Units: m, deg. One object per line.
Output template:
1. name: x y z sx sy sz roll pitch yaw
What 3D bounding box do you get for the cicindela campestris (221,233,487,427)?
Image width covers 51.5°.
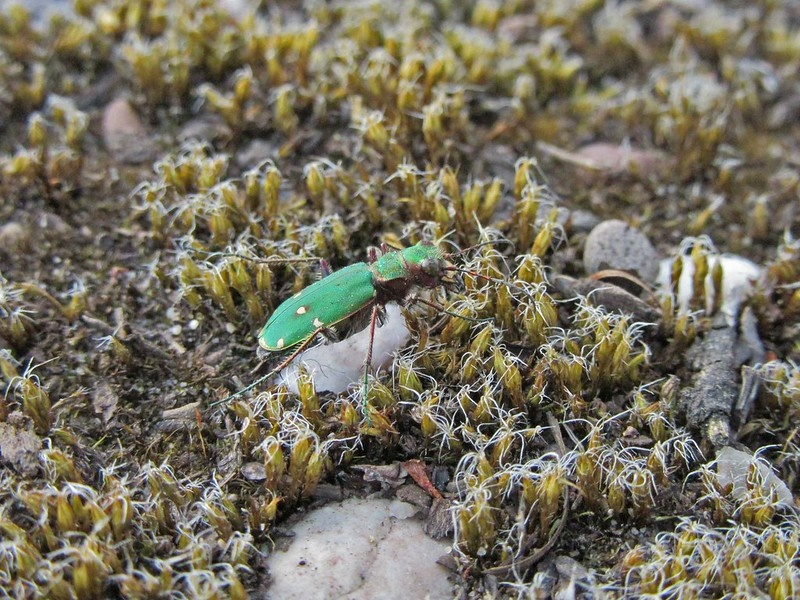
1. cicindela campestris: -0.299 0.010 4.862 1.150 0.356 1.037 -14 51 -10
